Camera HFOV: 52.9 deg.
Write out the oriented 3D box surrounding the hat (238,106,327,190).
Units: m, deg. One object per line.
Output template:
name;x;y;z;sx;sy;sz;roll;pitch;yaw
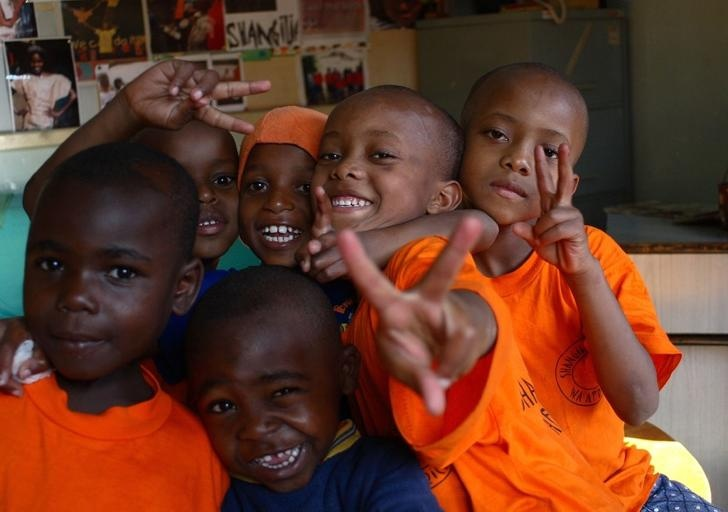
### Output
hat;-0.202;-0.308;1.975;0.178;0.234;0.187;-8;45;10
